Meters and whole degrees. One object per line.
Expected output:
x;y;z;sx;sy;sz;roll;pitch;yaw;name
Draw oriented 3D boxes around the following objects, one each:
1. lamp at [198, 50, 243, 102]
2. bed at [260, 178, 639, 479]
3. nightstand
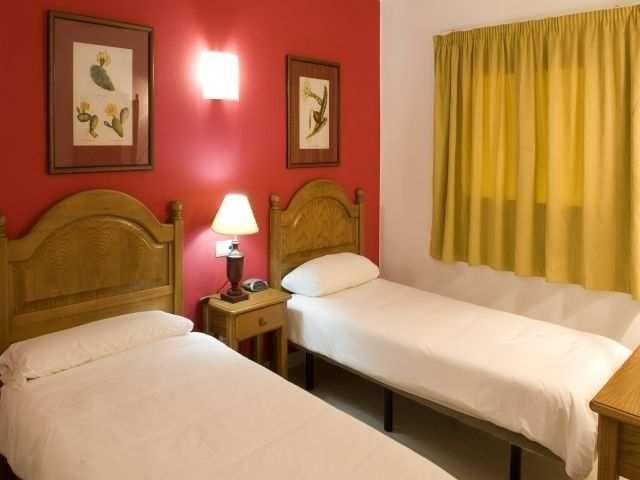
-0.692;-1.133;3.416;0.304;0.325;0.073;0;6;-32;lamp
0.837;0.314;3.744;1.203;1.848;2.318;-6;10;-39;bed
-0.541;0.776;3.599;0.525;0.760;0.450;-10;14;-40;nightstand
